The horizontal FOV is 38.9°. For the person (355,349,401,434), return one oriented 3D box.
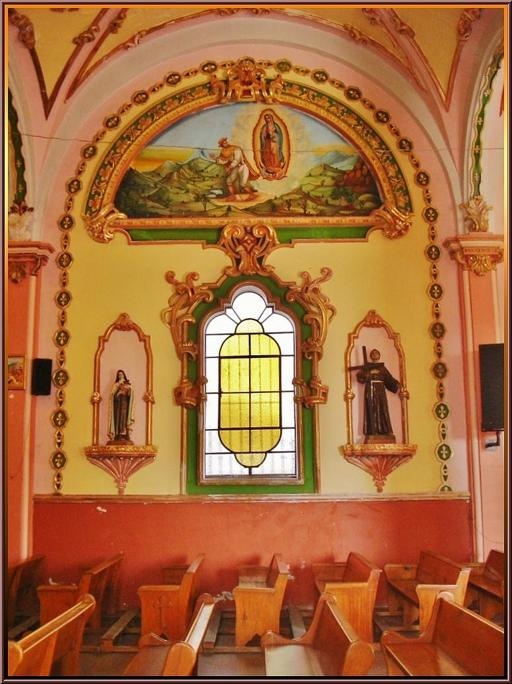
[{"bbox_3d":[1.329,0.548,7.834,0.484,1.004,0.248,-3,-4,7],"label":"person"}]

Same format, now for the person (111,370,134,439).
[{"bbox_3d":[-1.428,0.697,7.854,0.202,0.795,0.237,-5,-4,24],"label":"person"}]

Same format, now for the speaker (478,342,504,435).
[{"bbox_3d":[2.479,0.484,7.581,0.250,0.926,0.181,-5,-4,22],"label":"speaker"}]

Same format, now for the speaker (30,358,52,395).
[{"bbox_3d":[-2.298,0.388,7.871,0.232,0.417,0.106,-2,-4,-14],"label":"speaker"}]
